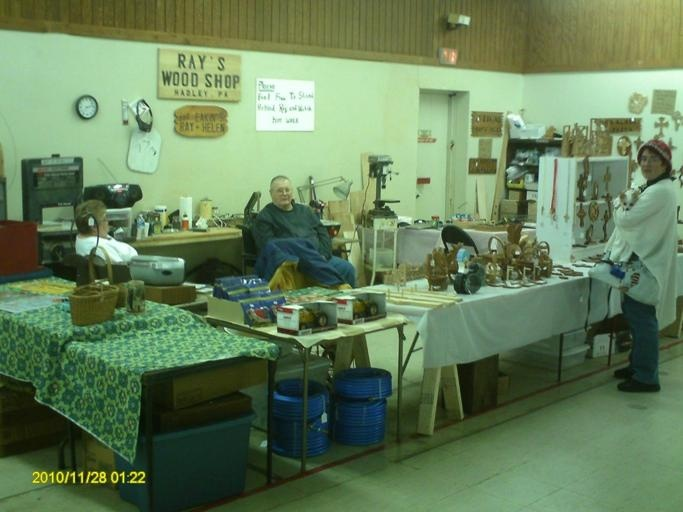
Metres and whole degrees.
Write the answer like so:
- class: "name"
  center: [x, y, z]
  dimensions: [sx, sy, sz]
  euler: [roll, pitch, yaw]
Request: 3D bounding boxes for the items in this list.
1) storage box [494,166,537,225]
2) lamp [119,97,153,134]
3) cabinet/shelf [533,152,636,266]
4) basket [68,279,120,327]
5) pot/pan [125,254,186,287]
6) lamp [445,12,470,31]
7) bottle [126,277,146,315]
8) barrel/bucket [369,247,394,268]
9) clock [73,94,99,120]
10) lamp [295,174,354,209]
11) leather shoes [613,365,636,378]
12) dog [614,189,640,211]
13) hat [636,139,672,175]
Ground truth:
- class: "storage box"
  center: [2.470, -0.855, 10.356]
  dimensions: [0.465, 0.899, 0.902]
  euler: [4, 8, 29]
- class: "lamp"
  center: [-2.118, -1.468, 7.665]
  dimensions: [0.334, 0.343, 0.102]
  euler: [-6, 15, -26]
- class: "cabinet/shelf"
  center: [2.326, -0.438, 7.021]
  dimensions: [0.322, 1.013, 1.022]
  euler: [2, 6, 39]
- class: "basket"
  center: [-1.550, 0.287, 4.675]
  dimensions: [0.223, 0.262, 0.293]
  euler: [5, 5, 32]
- class: "pot/pan"
  center: [-1.372, 0.100, 5.540]
  dimensions: [0.253, 0.147, 0.286]
  euler: [2, 2, 29]
- class: "lamp"
  center: [1.673, -3.270, 10.184]
  dimensions: [0.292, 0.220, 0.546]
  euler: [14, 20, 40]
- class: "bottle"
  center: [-1.358, 0.259, 4.880]
  dimensions: [0.164, 0.299, 0.175]
  euler: [1, 8, 0]
- class: "barrel/bucket"
  center: [0.511, 0.011, 8.805]
  dimensions: [0.218, 0.157, 0.231]
  euler: [1, 7, 0]
- class: "clock"
  center: [-2.562, -1.506, 7.345]
  dimensions: [0.063, 0.257, 0.241]
  euler: [6, -2, 33]
- class: "lamp"
  center: [-0.235, -0.800, 9.008]
  dimensions: [0.791, 0.455, 0.307]
  euler: [-4, 2, 22]
- class: "leather shoes"
  center: [2.500, 1.013, 6.486]
  dimensions: [0.126, 0.050, 0.096]
  euler: [-4, 4, -36]
- class: "dog"
  center: [2.407, -0.496, 6.142]
  dimensions: [0.133, 0.074, 0.197]
  euler: [1, 29, 48]
- class: "hat"
  center: [2.640, -0.848, 6.194]
  dimensions: [0.269, 0.285, 0.359]
  euler: [7, 16, 22]
